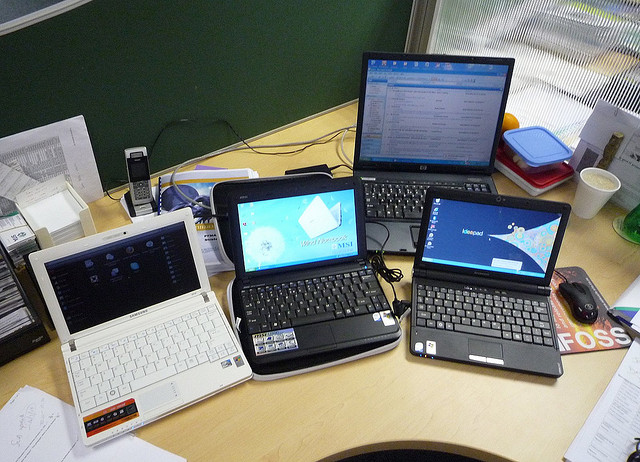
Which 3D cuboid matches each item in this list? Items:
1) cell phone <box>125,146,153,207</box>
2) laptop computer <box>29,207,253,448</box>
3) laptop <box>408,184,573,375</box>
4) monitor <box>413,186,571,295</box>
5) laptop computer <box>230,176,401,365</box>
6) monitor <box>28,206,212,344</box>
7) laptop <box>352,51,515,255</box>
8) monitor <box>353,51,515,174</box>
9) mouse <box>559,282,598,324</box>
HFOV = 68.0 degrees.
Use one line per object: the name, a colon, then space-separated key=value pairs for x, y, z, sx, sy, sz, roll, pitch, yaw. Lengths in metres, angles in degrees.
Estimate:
cell phone: x=-0.588 y=-0.177 z=1.552 sx=0.085 sy=0.178 sz=0.060 roll=-14 pitch=36 yaw=-14
laptop computer: x=-0.428 y=0.222 z=1.196 sx=0.470 sy=0.264 sz=0.509 roll=33 pitch=46 yaw=20
laptop: x=0.463 y=0.126 z=1.300 sx=0.416 sy=0.359 sz=0.331 roll=3 pitch=37 yaw=10
monitor: x=0.495 y=0.039 z=1.388 sx=0.390 sy=0.252 sz=0.317 roll=12 pitch=55 yaw=3
laptop computer: x=-0.016 y=0.091 z=1.285 sx=0.426 sy=0.260 sz=0.434 roll=-4 pitch=40 yaw=-8
monitor: x=-0.532 y=0.133 z=1.256 sx=0.310 sy=0.209 sz=0.013 roll=-21 pitch=17 yaw=-16
laptop: x=0.347 y=-0.214 z=1.505 sx=0.534 sy=0.377 sz=0.600 roll=12 pitch=59 yaw=10
monitor: x=0.357 y=-0.329 z=1.690 sx=0.534 sy=0.391 sz=0.385 roll=5 pitch=56 yaw=-4
mouse: x=0.761 y=0.194 z=1.393 sx=0.083 sy=0.049 sz=0.151 roll=-9 pitch=39 yaw=3
